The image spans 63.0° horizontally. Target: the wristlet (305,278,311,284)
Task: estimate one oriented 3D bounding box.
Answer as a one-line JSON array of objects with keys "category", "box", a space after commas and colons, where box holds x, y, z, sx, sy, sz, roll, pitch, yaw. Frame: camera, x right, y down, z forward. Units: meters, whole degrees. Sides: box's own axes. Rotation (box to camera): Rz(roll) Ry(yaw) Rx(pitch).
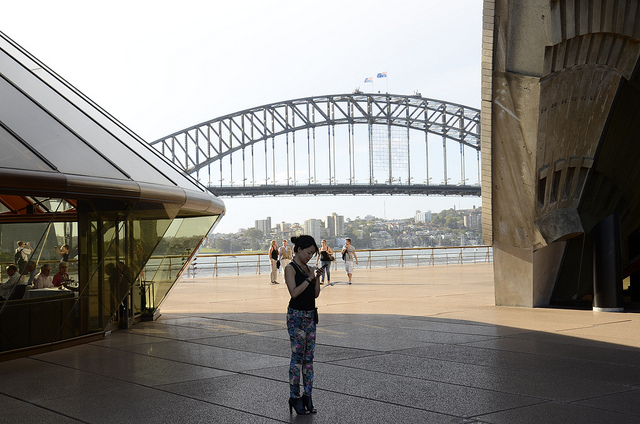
[{"category": "wristlet", "box": [-0.158, 0.880, 6.665, 0.064, 0.056, 0.034, 0, -9, -1]}]
